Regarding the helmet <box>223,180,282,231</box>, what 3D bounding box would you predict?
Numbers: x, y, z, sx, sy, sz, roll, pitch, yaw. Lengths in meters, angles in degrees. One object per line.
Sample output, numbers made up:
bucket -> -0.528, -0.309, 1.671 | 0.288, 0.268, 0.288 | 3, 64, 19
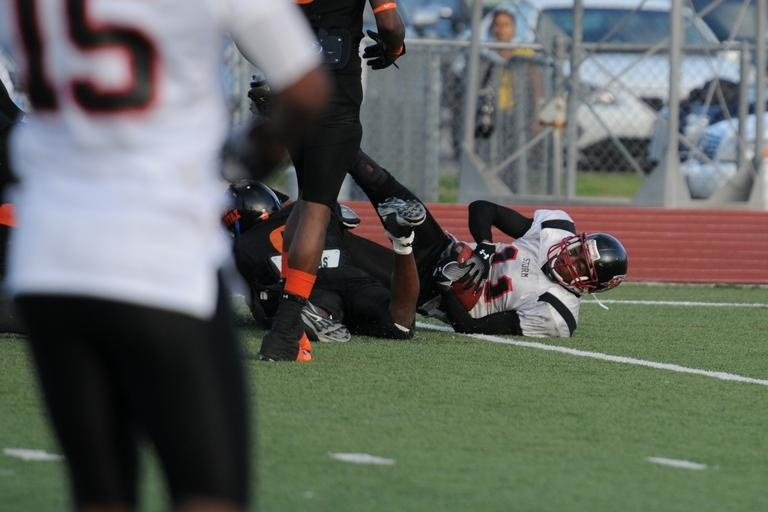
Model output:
helmet -> -0.656, -0.280, 5.187 | 0.381, 0.220, 0.264 | -7, 7, 15

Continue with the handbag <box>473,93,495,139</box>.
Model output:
handbag -> 1.014, -1.390, 10.205 | 0.243, 0.528, 0.170 | -4, 8, -17

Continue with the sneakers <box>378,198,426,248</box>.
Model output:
sneakers -> 0.080, -0.149, 4.508 | 0.115, 0.161, 0.336 | -7, 2, -6

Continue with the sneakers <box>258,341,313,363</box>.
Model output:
sneakers -> -0.399, 0.405, 4.195 | 0.083, 0.105, 0.250 | 1, -12, 24

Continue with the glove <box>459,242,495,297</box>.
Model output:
glove -> 0.463, 0.060, 4.984 | 0.144, 0.231, 0.063 | 22, 7, 25

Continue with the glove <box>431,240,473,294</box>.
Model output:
glove -> 0.325, 0.026, 4.932 | 0.105, 0.230, 0.165 | 38, -4, -24

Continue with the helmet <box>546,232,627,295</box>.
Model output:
helmet -> 1.020, 0.004, 5.050 | 0.402, 0.260, 0.299 | 15, 28, -7
